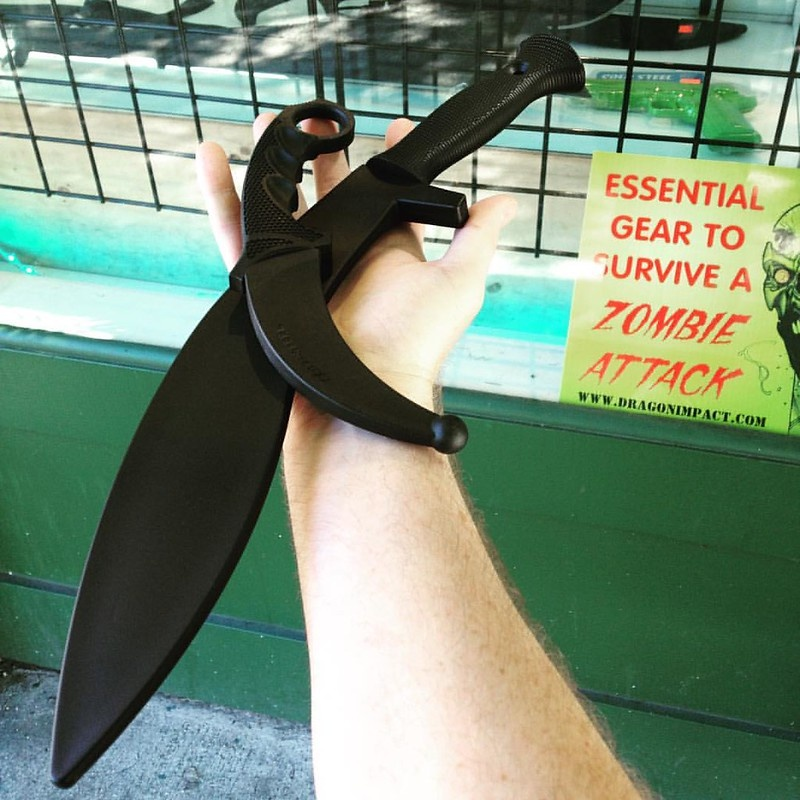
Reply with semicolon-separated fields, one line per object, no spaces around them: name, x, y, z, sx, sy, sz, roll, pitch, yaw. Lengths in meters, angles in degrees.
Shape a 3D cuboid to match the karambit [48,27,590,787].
karambit;-0.028;-0.029;0.642;0.264;0.054;0.650;22;56;25
